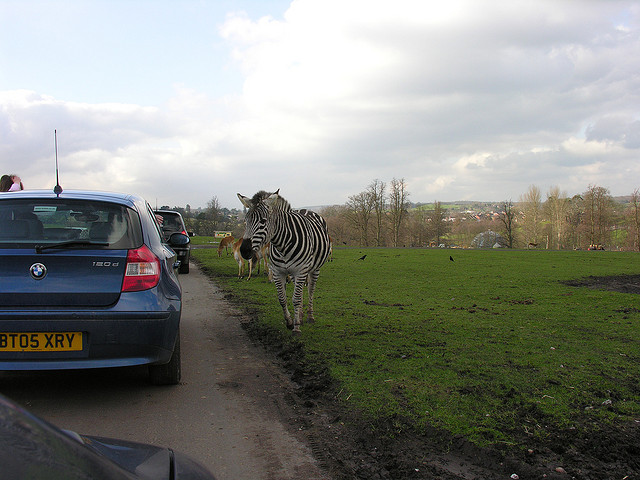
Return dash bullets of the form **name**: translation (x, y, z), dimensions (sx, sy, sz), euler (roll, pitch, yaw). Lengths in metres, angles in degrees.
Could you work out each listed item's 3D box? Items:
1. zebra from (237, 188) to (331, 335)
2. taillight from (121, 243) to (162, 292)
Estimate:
- **zebra**: translation (-0.679, 0.384, 9.253), dimensions (1.123, 2.697, 2.717), euler (1, 2, 21)
- **taillight**: translation (-1.920, 0.333, 4.876), dimensions (0.313, 0.375, 0.508), euler (2, -11, -11)
